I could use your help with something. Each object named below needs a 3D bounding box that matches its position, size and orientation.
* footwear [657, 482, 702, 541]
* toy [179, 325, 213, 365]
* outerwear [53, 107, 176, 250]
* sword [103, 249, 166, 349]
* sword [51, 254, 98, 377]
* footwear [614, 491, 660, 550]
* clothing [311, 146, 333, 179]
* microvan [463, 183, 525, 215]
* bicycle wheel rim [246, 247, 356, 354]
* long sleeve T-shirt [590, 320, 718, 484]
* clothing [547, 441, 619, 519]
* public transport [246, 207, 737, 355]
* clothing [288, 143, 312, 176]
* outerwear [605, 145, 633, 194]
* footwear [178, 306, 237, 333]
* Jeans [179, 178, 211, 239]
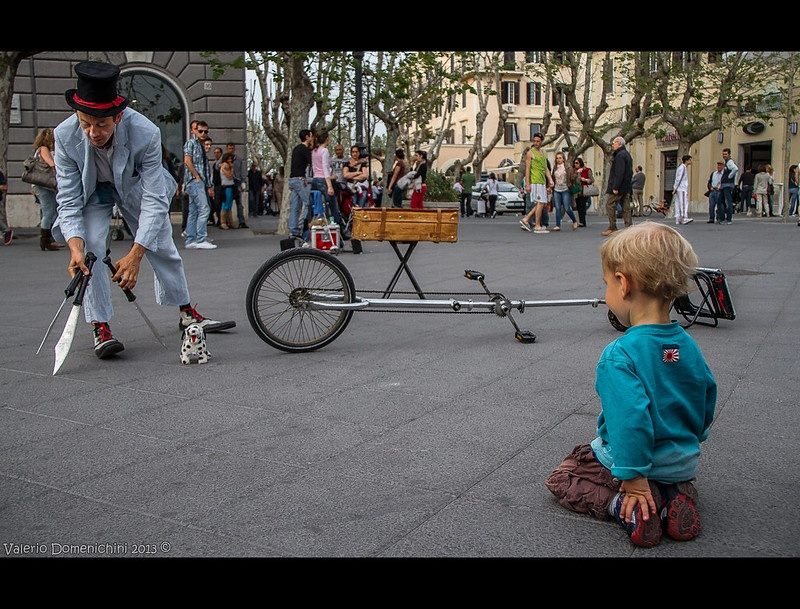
[{"bbox_3d":[1.135,0.839,2.789,0.099,0.287,0.128,-3,-23,7],"label":"footwear"},{"bbox_3d":[-1.667,0.334,5.549,0.209,0.244,0.313,0,-5,-12],"label":"toy"},{"bbox_3d":[-2.344,-0.970,5.595,0.934,1.070,0.721,4,-11,-20],"label":"outerwear"},{"bbox_3d":[-2.575,-0.009,6.587,0.210,1.274,0.138,-30,13,0],"label":"sword"},{"bbox_3d":[-2.536,0.138,5.270,0.265,1.101,0.107,22,-29,-34],"label":"sword"},{"bbox_3d":[0.958,0.897,2.824,0.096,0.123,0.267,2,-5,-7],"label":"footwear"},{"bbox_3d":[-1.642,-2.848,13.942,0.383,0.667,0.362,0,-10,-3],"label":"clothing"},{"bbox_3d":[5.593,-5.923,38.251,1.585,1.330,2.658,-2,4,-24],"label":"microvan"},{"bbox_3d":[-0.839,-0.024,5.834,0.928,0.857,0.385,3,-11,-15],"label":"bicycle wheel rim"},{"bbox_3d":[1.065,0.438,2.857,0.575,0.584,0.353,-10,23,-18],"label":"long sleeve T-shirt"},{"bbox_3d":[0.794,0.772,2.943,0.263,0.274,0.119,24,-14,30],"label":"clothing"},{"bbox_3d":[0.977,-0.012,6.723,4.686,1.522,1.880,-1,6,-8],"label":"public transport"},{"bbox_3d":[-2.105,-2.994,14.367,0.423,0.697,0.441,2,-11,-8],"label":"clothing"},{"bbox_3d":[5.357,-3.212,16.689,0.601,1.209,0.701,-3,-11,17],"label":"outerwear"},{"bbox_3d":[-1.867,0.158,6.444,0.667,0.323,0.229,1,6,-16],"label":"footwear"},{"bbox_3d":[-4.563,-2.124,15.102,0.730,0.756,1.953,-9,-29,-25],"label":"Jeans"}]
